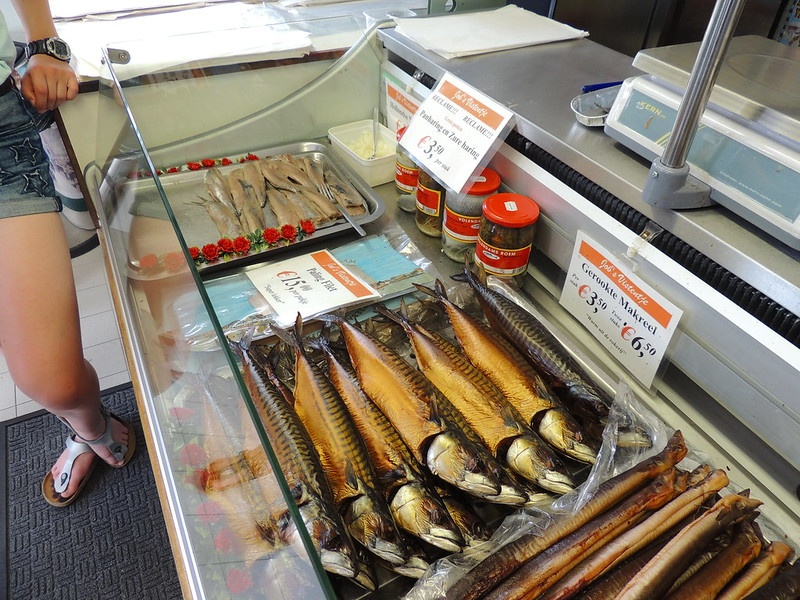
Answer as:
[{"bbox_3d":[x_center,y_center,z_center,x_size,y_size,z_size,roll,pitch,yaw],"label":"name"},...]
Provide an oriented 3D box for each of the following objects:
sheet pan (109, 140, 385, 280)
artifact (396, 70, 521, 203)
[{"bbox_3d":[-0.578,-0.307,1.845,0.729,0.106,0.539,-17,47,-19],"label":"sheet pan"},{"bbox_3d":[0.156,-0.525,1.549,0.208,0.197,0.358,-27,53,-18],"label":"artifact"}]
